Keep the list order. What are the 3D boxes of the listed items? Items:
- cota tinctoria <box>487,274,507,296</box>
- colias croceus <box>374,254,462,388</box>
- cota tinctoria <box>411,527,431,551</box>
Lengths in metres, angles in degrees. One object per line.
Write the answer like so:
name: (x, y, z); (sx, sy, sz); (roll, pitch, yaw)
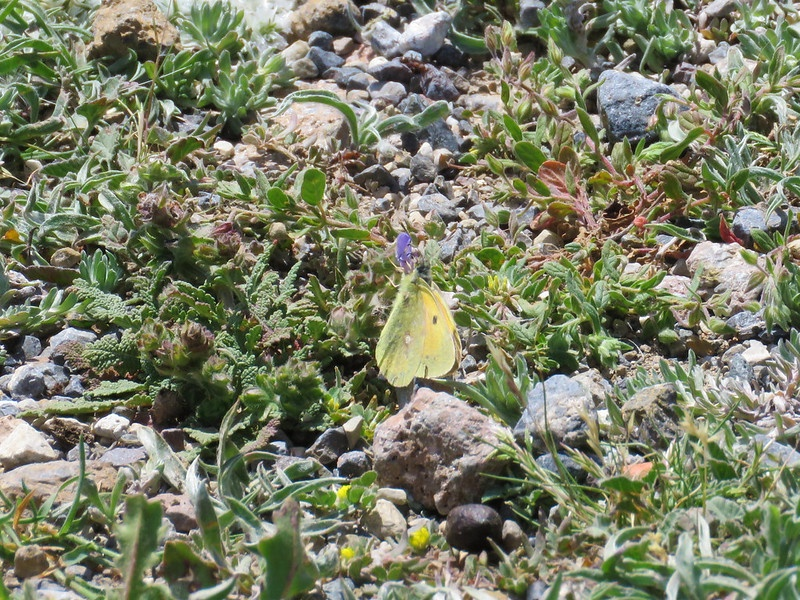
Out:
cota tinctoria: (0.369, -0.054, 3.369); (0.074, 0.072, 0.044); (-1, 101, -5)
colias croceus: (0.052, 0.092, 3.150); (0.367, 0.264, 0.459); (12, 106, 26)
cota tinctoria: (0.066, 0.759, 2.826); (0.072, 0.040, 0.061); (-28, 68, -12)
